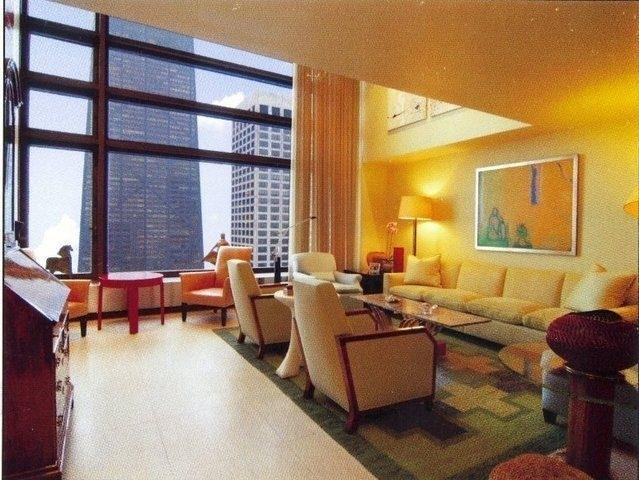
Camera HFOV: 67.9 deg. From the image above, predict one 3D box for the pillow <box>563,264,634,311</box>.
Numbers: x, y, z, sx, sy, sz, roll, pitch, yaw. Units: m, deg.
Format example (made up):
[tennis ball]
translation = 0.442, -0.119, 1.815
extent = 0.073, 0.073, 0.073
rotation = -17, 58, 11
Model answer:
[pillow]
translation = 2.624, 0.510, 4.482
extent = 0.291, 0.436, 0.499
rotation = -1, 9, -6

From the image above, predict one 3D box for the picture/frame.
[picture/frame]
translation = 2.448, -0.408, 5.520
extent = 0.041, 1.037, 1.130
rotation = -3, 5, -32

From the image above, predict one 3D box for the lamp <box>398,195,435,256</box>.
[lamp]
translation = 1.388, -0.182, 6.736
extent = 0.436, 0.904, 0.638
rotation = 3, 10, 19
